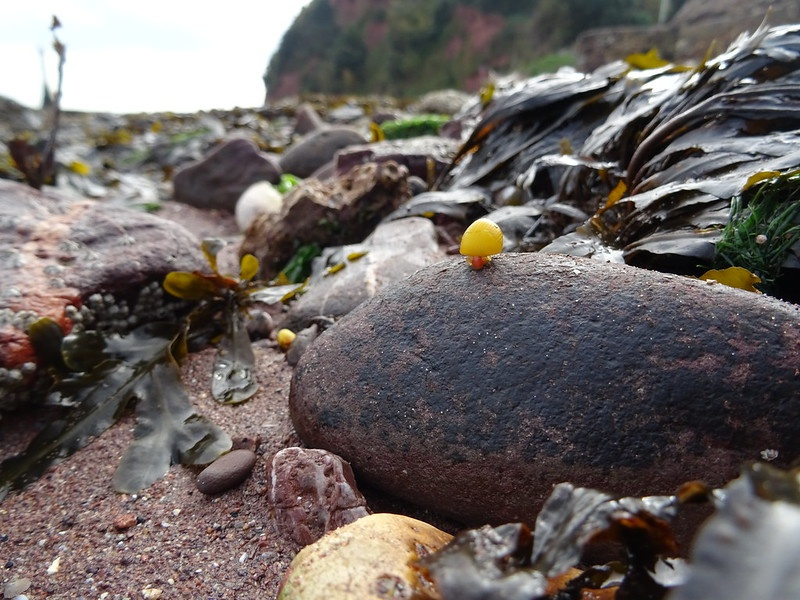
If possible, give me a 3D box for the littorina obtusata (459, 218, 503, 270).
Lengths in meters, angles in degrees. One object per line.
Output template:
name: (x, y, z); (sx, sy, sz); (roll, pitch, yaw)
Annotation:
littorina obtusata: (0.280, -0.208, 2.776); (0.195, 0.174, 0.186); (-1, 11, -27)
